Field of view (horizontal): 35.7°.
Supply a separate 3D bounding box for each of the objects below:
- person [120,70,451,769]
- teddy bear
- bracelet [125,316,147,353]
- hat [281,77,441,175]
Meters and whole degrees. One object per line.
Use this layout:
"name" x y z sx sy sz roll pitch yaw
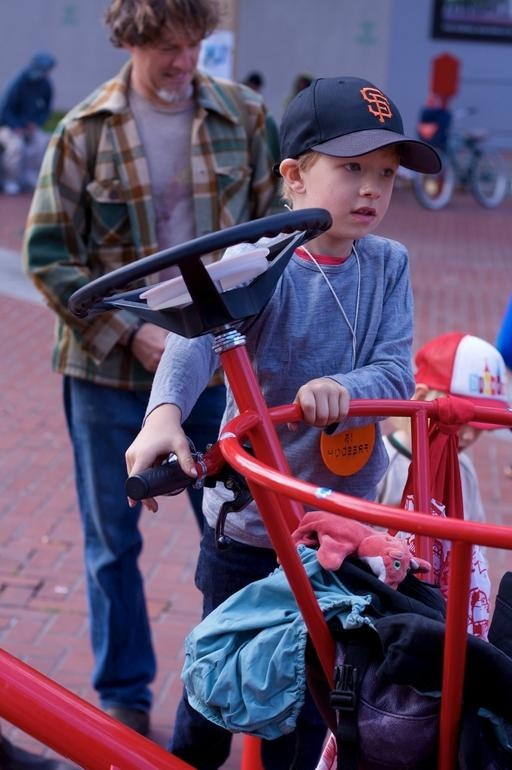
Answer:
"person" 0.041 0.147 1.429 0.418 1.296 0.789 7 25 25
"teddy bear" 0.135 0.214 1.070 0.171 0.070 0.177 21 3 -31
"bracelet" -0.314 -0.132 2.001 0.065 0.067 0.082 0 -7 2
"hat" 0.168 -0.450 1.368 0.205 0.147 0.292 -6 14 -39
